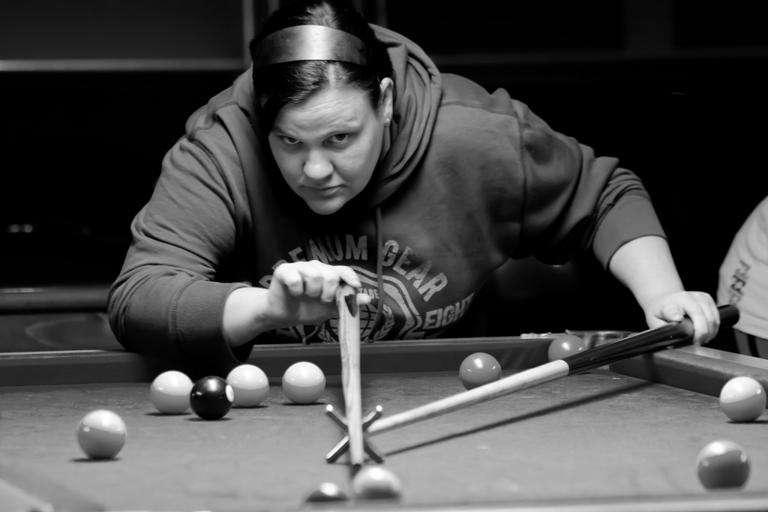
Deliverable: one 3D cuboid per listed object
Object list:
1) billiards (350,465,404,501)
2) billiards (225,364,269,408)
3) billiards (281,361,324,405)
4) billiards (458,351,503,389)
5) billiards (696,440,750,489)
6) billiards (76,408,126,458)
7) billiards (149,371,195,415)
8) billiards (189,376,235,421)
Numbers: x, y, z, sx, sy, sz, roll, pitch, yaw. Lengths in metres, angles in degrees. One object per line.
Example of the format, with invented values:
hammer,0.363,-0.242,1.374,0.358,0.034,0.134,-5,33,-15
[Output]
billiards,-0.015,0.374,1.296,0.068,0.041,0.067,-15,22,-40
billiards,-0.327,0.328,1.992,0.096,0.115,0.099,0,-18,4
billiards,-0.205,0.320,2.016,0.099,0.102,0.099,0,-7,23
billiards,0.254,0.312,2.193,0.093,0.114,0.096,12,3,36
billiards,0.596,0.370,1.401,0.091,0.075,0.059,1,17,6
billiards,-0.558,0.360,1.583,0.085,0.082,0.080,9,19,29
billiards,-0.511,0.328,1.911,0.101,0.107,0.099,4,-5,-4
billiards,-0.403,0.333,1.856,0.088,0.098,0.096,1,-2,6
